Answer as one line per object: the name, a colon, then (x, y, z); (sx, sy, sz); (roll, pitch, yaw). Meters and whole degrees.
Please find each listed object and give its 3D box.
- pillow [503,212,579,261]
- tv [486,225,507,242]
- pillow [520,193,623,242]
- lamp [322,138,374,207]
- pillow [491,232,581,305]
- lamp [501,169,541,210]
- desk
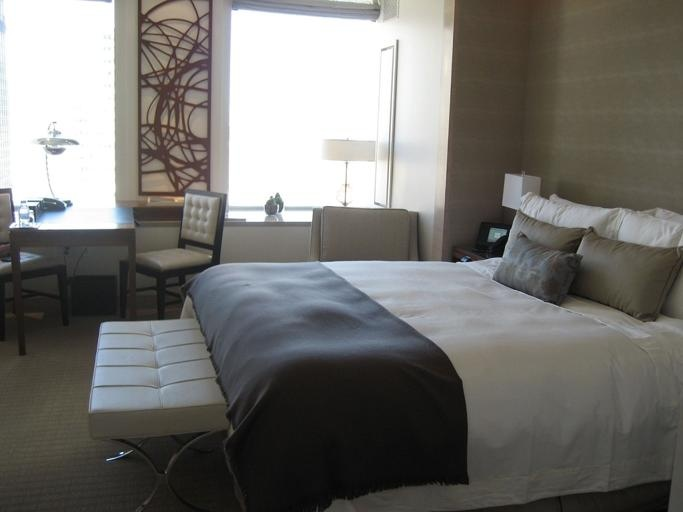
pillow: (1.304, -0.122, 3.440); (0.101, 0.251, 0.291); (15, 4, -29)
tv: (1.324, -0.191, 4.560); (0.166, 0.120, 0.160); (-3, 6, 15)
pillow: (1.531, -0.284, 3.573); (0.366, 0.130, 0.411); (-31, 22, -8)
lamp: (0.116, -0.899, 5.888); (0.537, 0.719, 0.756); (2, 10, 12)
pillow: (1.186, 0.082, 3.209); (0.140, 0.354, 0.490); (24, 4, -20)
lamp: (1.406, -0.573, 4.375); (0.261, 0.376, 0.347); (-6, 20, -26)
desk: (-2.190, 0.132, 4.469); (0.898, 0.994, 1.022); (-5, 11, -21)
